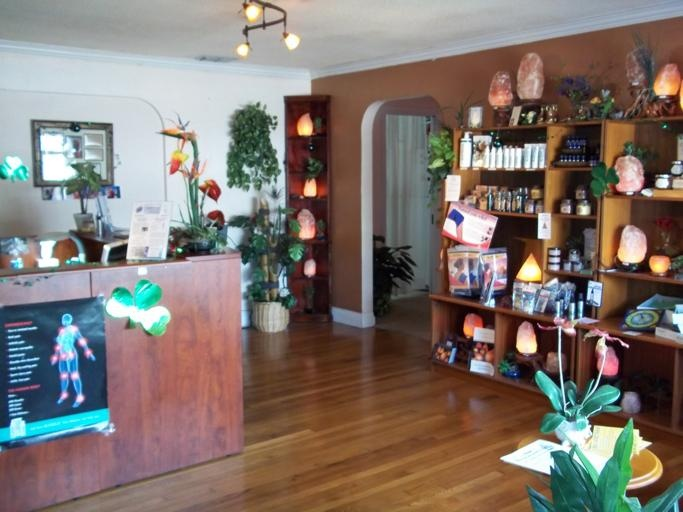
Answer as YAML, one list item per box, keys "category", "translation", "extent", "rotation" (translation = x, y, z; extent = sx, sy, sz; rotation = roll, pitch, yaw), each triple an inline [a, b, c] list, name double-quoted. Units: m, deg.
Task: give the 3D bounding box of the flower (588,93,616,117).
- category: "flower"
  translation: [2.180, -1.253, 4.315]
  extent: [0.196, 0.247, 0.337]
  rotation: [4, 10, 27]

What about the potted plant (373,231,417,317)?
- category: "potted plant"
  translation: [0.782, 0.216, 7.732]
  extent: [0.585, 1.090, 1.186]
  rotation: [0, 9, 5]

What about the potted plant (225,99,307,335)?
- category: "potted plant"
  translation: [-0.996, -0.505, 6.671]
  extent: [0.917, 2.914, 0.707]
  rotation: [-3, 9, -12]

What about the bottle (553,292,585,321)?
- category: "bottle"
  translation: [1.891, 0.425, 4.319]
  extent: [0.189, 0.132, 0.197]
  rotation: [-1, 7, 0]

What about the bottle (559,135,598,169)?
- category: "bottle"
  translation: [1.993, -0.861, 4.374]
  extent: [0.294, 0.311, 0.294]
  rotation: [3, 4, 14]

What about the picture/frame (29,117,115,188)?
- category: "picture/frame"
  translation: [-2.999, -1.144, 5.662]
  extent: [0.947, 0.864, 0.082]
  rotation: [0, 3, -25]
